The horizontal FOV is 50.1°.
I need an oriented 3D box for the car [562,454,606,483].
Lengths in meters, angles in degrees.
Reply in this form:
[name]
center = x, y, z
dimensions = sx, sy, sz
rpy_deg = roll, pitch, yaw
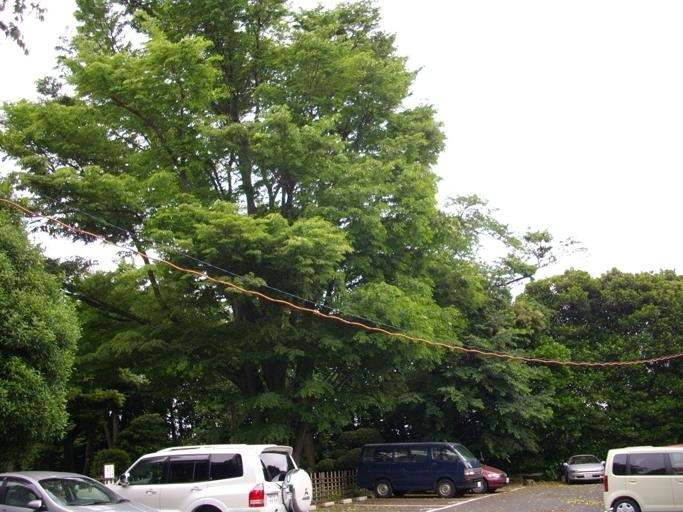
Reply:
[car]
center = 12.075, 10.636, 36.356
dimensions = 1.831, 1.310, 1.950
rpy_deg = -8, -20, 17

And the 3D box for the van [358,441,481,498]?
[van]
center = 3.389, 9.059, 31.350
dimensions = 4.802, 2.007, 2.480
rpy_deg = -8, -19, 19
